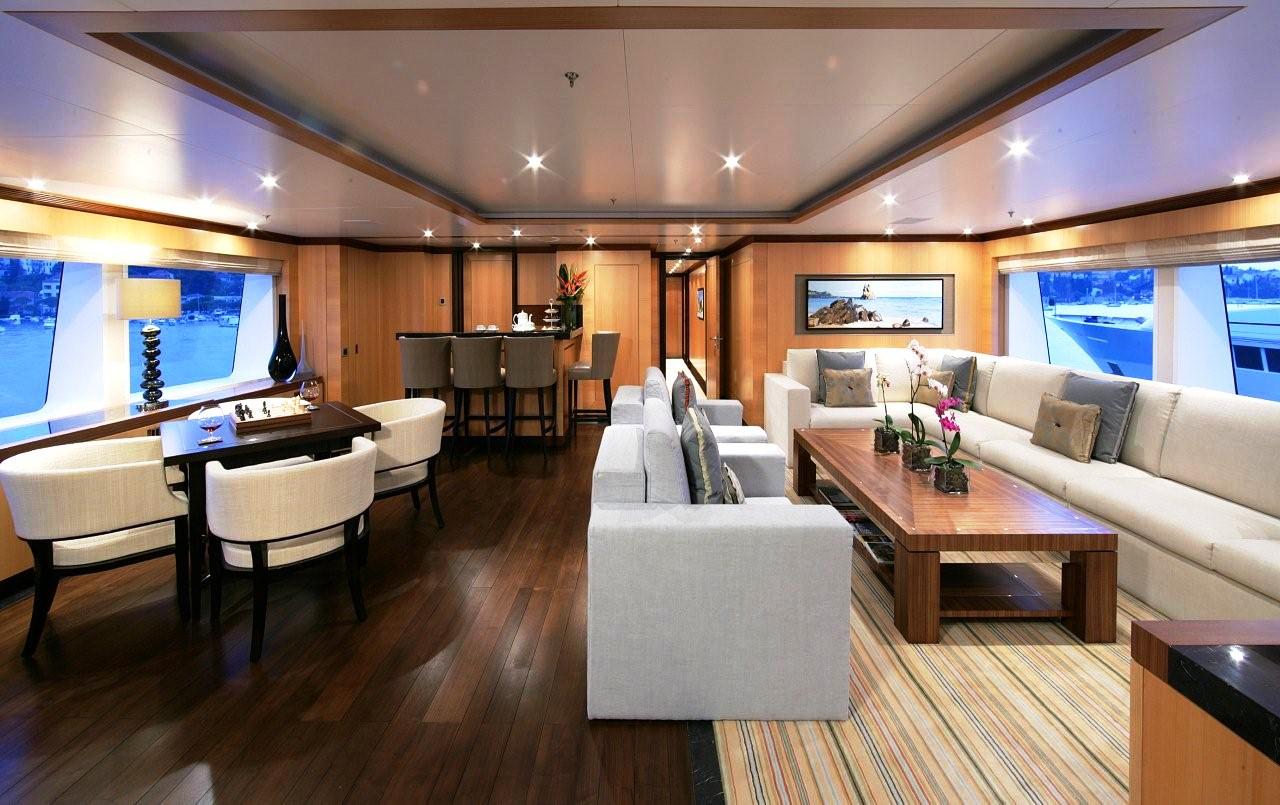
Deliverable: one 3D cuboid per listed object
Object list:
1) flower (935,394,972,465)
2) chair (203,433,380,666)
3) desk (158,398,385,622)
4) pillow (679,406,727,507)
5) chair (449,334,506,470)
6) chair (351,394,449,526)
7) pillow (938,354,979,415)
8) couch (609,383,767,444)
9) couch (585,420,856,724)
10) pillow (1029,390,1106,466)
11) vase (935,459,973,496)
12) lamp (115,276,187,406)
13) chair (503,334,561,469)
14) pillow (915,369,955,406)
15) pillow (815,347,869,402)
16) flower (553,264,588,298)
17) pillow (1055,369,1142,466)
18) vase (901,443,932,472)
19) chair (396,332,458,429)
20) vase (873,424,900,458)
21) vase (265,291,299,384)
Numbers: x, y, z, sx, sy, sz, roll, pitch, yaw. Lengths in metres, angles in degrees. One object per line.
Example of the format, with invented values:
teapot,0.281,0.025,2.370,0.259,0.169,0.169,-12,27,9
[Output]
flower,2.223,0.203,5.474,0.323,0.494,0.313,-5,2,8
chair,-2.224,0.842,4.854,0.938,1.117,0.954,-11,19,-43
desk,-2.579,0.753,5.365,1.483,0.968,1.571,-9,1,20
pillow,0.385,0.306,4.763,0.246,0.503,0.813,-7,7,2
chair,-1.709,-0.140,8.093,0.544,1.179,0.713,-3,9,-10
chair,-1.875,0.446,5.888,0.812,0.807,0.816,5,14,36
pillow,3.381,-0.248,7.870,0.212,0.439,0.581,23,7,17
couch,0.334,0.212,6.265,0.860,0.597,0.925,3,11,30
couch,0.428,0.864,4.320,1.065,0.971,1.523,0,0,0
pillow,3.350,0.216,5.933,0.192,0.378,0.537,-5,7,-10
vase,2.079,0.503,5.095,0.196,0.250,0.356,2,0,4
lamp,-4.076,-0.507,6.421,0.419,1.078,0.821,-6,10,-31
chair,-1.151,-0.102,8.184,0.591,1.280,0.810,-2,9,-7
pillow,2.845,-0.145,7.335,0.140,0.254,0.365,27,-3,-4
pillow,2.120,-0.279,7.999,0.516,0.540,0.210,0,-17,6
flower,-0.880,-1.548,9.796,0.473,0.464,0.465,2,-4,-1
pillow,3.601,0.073,6.086,0.288,0.597,0.752,-6,12,-6
vase,1.979,0.385,5.538,0.184,0.251,0.258,3,-1,1
chair,-2.246,-0.232,8.030,0.594,0.889,0.592,-3,8,-21
vase,1.906,0.304,6.024,0.215,0.282,0.207,1,1,1
vase,-3.865,-0.689,8.186,0.239,0.917,0.547,-5,10,-26
